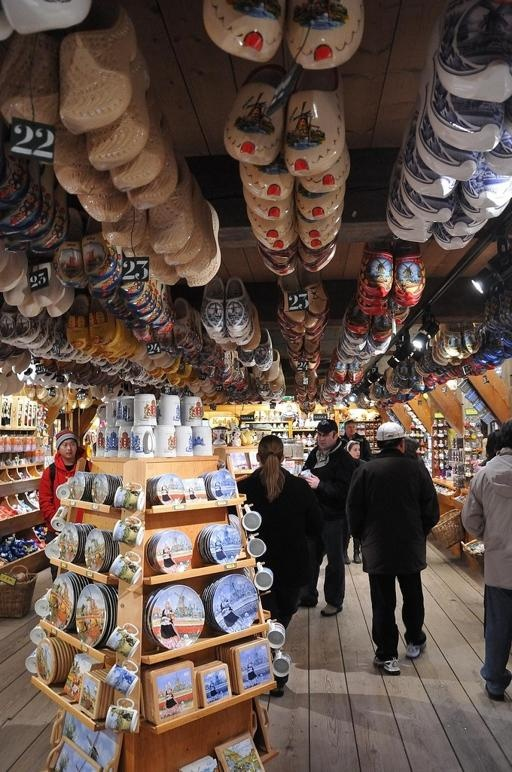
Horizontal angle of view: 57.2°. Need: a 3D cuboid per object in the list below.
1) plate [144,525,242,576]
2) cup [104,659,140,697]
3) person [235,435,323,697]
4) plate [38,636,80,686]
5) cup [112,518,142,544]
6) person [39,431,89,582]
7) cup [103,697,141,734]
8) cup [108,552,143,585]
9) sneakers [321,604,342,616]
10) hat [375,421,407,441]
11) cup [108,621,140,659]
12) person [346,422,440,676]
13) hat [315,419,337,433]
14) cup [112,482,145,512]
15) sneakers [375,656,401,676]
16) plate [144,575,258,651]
[{"bbox_3d":[-0.218,0.609,1.788,0.262,0.201,0.075,22,-27,-36],"label":"plate"},{"bbox_3d":[-0.438,0.942,1.531,0.107,0.103,0.064,-5,-10,24],"label":"cup"},{"bbox_3d":[0.133,0.987,2.968,0.495,1.378,0.433,2,5,7],"label":"person"},{"bbox_3d":[-0.795,1.083,1.884,0.100,0.184,0.154,-30,-43,-3],"label":"plate"},{"bbox_3d":[-0.468,0.507,1.682,0.147,0.097,0.053,-7,-11,32],"label":"cup"},{"bbox_3d":[-1.750,1.067,4.352,0.490,1.383,0.437,-2,26,-20],"label":"person"},{"bbox_3d":[-0.434,1.039,1.504,0.136,0.099,0.078,-2,-18,16],"label":"cup"},{"bbox_3d":[-0.450,0.613,1.621,0.108,0.130,0.081,4,33,-23],"label":"cup"},{"bbox_3d":[0.688,2.003,4.294,0.077,0.094,0.213,-14,-23,32],"label":"sneakers"},{"bbox_3d":[0.985,0.303,3.370,0.155,0.098,0.138,-9,4,-42],"label":"hat"},{"bbox_3d":[-0.451,0.837,1.590,0.071,0.093,0.132,8,-13,-42],"label":"cup"},{"bbox_3d":[0.969,1.061,3.271,0.614,1.629,0.374,3,-10,-22],"label":"person"},{"bbox_3d":[0.651,0.364,4.280,0.145,0.136,0.275,-9,-12,41],"label":"hat"},{"bbox_3d":[-0.463,0.385,1.679,0.070,0.100,0.097,2,-12,4],"label":"cup"},{"bbox_3d":[0.882,1.815,3.102,0.077,0.093,0.183,3,-12,-2],"label":"sneakers"},{"bbox_3d":[-0.191,0.853,1.836,0.126,0.229,0.567,-7,-11,35],"label":"plate"}]
